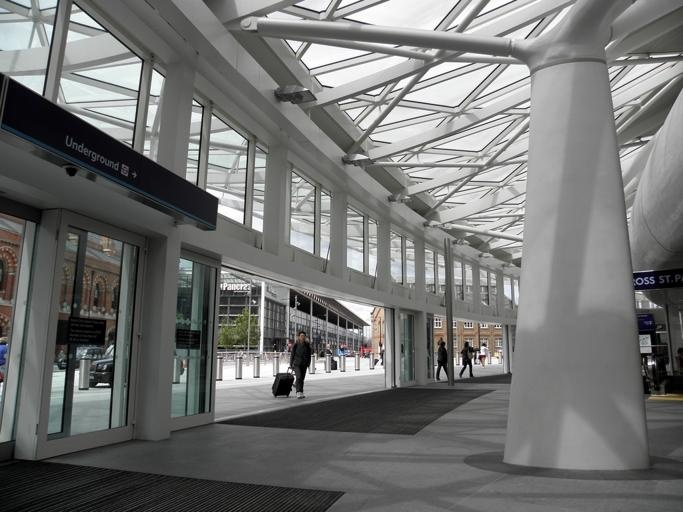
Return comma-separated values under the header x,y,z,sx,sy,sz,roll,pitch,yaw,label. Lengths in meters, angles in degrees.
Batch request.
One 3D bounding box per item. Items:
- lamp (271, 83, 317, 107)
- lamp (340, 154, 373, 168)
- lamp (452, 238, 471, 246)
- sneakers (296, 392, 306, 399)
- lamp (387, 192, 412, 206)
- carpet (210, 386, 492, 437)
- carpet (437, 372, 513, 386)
x,y,z,sx,sy,sz,roll,pitch,yaw,label
-1.278,-4.318,11.999,0.912,0.249,0.591,-7,-20,13,lamp
0.583,-3.553,16.558,0.892,0.219,0.555,-5,-11,41,lamp
7.810,-0.932,29.112,1.098,0.324,0.819,-2,-5,29,lamp
-1.471,4.984,16.059,0.182,0.202,0.463,0,-25,4,sneakers
2.703,-2.728,21.123,0.723,0.253,0.785,0,-12,7,lamp
1.106,4.592,13.561,4.628,0.425,9.315,-10,-16,26,carpet
8.951,7.552,27.530,2.763,0.301,9.209,-8,-16,20,carpet
